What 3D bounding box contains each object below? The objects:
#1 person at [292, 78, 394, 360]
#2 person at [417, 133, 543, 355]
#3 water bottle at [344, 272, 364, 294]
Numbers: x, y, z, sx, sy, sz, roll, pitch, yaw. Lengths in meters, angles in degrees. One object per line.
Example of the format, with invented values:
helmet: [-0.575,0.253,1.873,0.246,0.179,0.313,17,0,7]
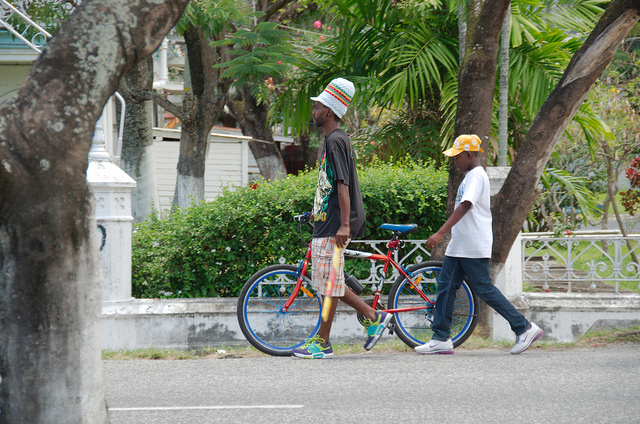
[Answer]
person: [0.209,0.120,17.134,1.139,3.840,0.581,0,0,1]
person: [2.168,0.487,17.431,1.533,2.993,0.655,0,0,4]
water bottle: [0.483,1.049,17.492,0.261,0.296,0.253,0,0,1]
